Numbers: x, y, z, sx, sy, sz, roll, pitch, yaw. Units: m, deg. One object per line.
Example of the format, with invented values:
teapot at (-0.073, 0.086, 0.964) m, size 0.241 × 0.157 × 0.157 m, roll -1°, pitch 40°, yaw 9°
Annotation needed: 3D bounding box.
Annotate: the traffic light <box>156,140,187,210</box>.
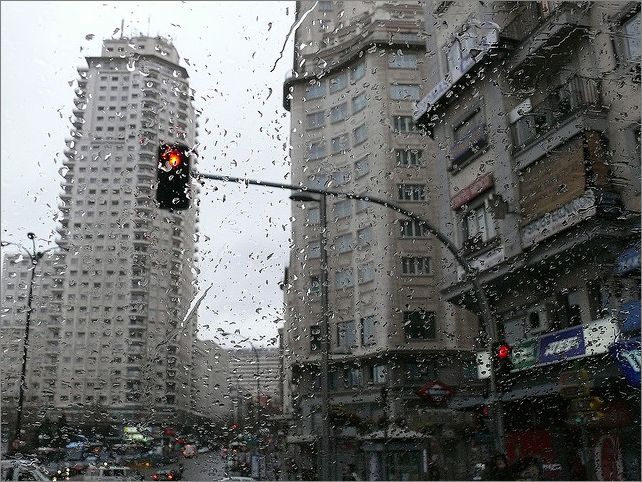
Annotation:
traffic light at (-3.987, -1.739, 22.888) m, size 0.984 × 0.235 × 2.142 m, roll 4°, pitch -52°, yaw -5°
